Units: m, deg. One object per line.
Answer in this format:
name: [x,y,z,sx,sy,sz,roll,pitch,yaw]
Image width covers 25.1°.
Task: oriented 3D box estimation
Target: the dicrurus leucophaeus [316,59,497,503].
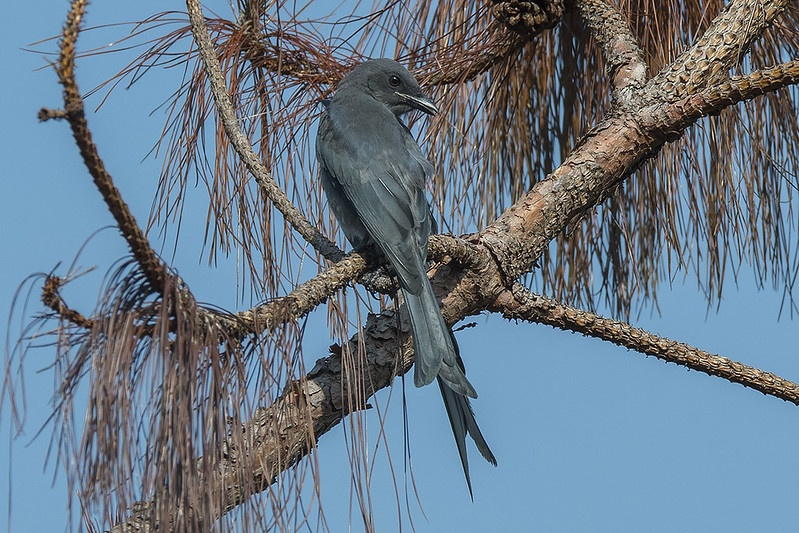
dicrurus leucophaeus: [-0.089,-0.225,10.683,0.676,2.862,0.911,-4,-32,-24]
